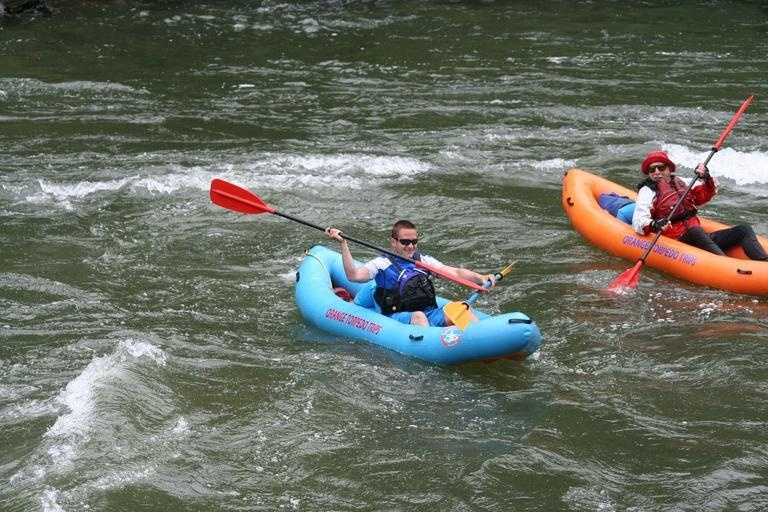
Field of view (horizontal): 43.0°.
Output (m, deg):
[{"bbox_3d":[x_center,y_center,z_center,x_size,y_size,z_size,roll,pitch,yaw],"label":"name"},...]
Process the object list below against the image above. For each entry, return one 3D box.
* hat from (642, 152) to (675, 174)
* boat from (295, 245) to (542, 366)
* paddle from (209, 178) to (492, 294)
[{"bbox_3d":[3.768,-1.334,13.485,0.518,0.427,0.124,-6,66,14],"label":"hat"},{"bbox_3d":[0.187,0.626,11.648,3.311,0.579,1.244,12,22,28],"label":"boat"},{"bbox_3d":[-0.445,-0.198,12.288,3.623,0.113,0.413,21,6,-1],"label":"paddle"}]
